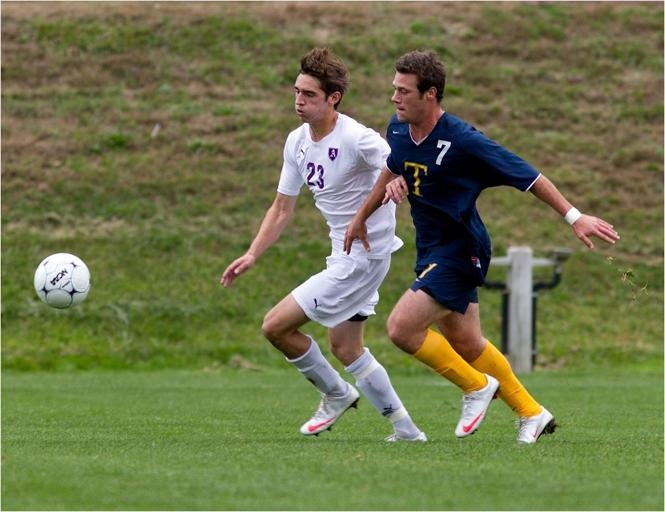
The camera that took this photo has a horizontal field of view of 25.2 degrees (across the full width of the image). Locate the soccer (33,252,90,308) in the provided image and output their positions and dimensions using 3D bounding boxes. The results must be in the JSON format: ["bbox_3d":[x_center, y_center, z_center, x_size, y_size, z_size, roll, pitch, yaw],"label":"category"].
[{"bbox_3d":[-3.379,0.277,18.349,0.710,0.695,0.690,-10,-17,40],"label":"soccer"}]

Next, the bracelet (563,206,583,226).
[{"bbox_3d":[2.714,-0.482,17.066,0.206,0.147,0.204,-45,0,-21],"label":"bracelet"}]

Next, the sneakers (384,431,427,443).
[{"bbox_3d":[0.855,2.148,17.616,0.495,0.186,0.170,2,-2,3],"label":"sneakers"}]
